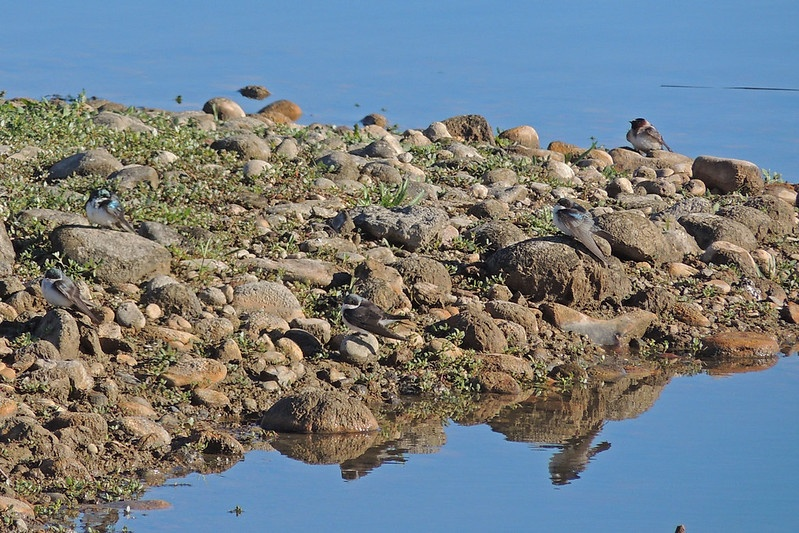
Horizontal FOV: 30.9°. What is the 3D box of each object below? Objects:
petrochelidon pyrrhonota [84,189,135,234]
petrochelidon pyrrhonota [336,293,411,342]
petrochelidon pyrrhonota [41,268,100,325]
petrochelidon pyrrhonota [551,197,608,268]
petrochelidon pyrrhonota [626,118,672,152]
[{"bbox_3d":[-4.035,-0.763,20.113,0.641,0.668,0.400,-3,24,-15],"label":"petrochelidon pyrrhonota"},{"bbox_3d":[-0.302,0.683,19.655,0.936,0.403,0.541,8,3,2],"label":"petrochelidon pyrrhonota"},{"bbox_3d":[-4.351,0.395,19.254,1.018,0.479,0.552,24,-6,-33],"label":"petrochelidon pyrrhonota"},{"bbox_3d":[2.768,-0.498,21.447,0.909,0.977,0.468,13,25,23],"label":"petrochelidon pyrrhonota"},{"bbox_3d":[5.125,-2.631,29.205,0.693,0.634,1.117,1,1,43],"label":"petrochelidon pyrrhonota"}]
